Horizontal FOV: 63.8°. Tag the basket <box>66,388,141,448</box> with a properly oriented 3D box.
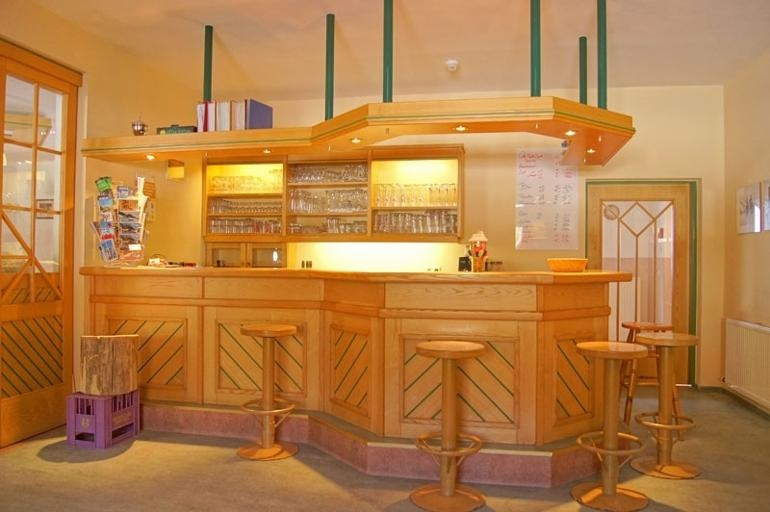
[{"bbox_3d":[-2.871,1.612,6.530,0.643,0.500,0.729,-1,-3,8],"label":"basket"}]

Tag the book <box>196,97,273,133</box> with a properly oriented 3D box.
[{"bbox_3d":[-1.690,-1.561,7.145,0.610,0.189,0.545,1,5,6],"label":"book"}]

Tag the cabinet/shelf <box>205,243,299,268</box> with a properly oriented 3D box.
[{"bbox_3d":[-1.915,-0.025,8.550,1.163,0.344,0.240,3,13,11],"label":"cabinet/shelf"}]

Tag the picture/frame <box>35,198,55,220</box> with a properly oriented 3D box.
[{"bbox_3d":[-3.743,-0.518,6.820,0.021,0.238,0.278,-4,-4,35],"label":"picture/frame"}]
